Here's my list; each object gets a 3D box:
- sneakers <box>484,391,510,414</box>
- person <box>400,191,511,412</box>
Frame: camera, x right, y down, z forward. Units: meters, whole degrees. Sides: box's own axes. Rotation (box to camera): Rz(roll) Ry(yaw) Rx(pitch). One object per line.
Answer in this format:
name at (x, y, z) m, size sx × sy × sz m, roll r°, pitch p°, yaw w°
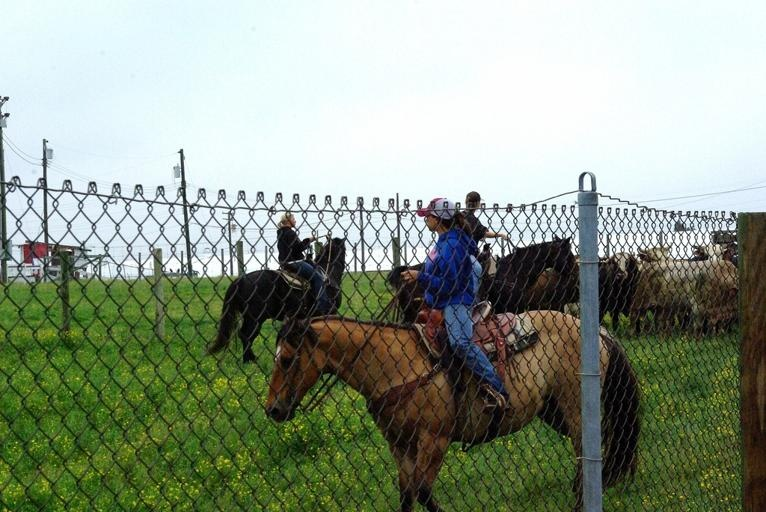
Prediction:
sneakers at (1.206, 1.565, 8.445) m, size 0.136 × 0.180 × 0.356 m, roll -9°, pitch 18°, yaw -43°
person at (0.745, 0.533, 8.064) m, size 0.796 × 1.548 × 1.605 m, roll 3°, pitch 2°, yaw 25°
